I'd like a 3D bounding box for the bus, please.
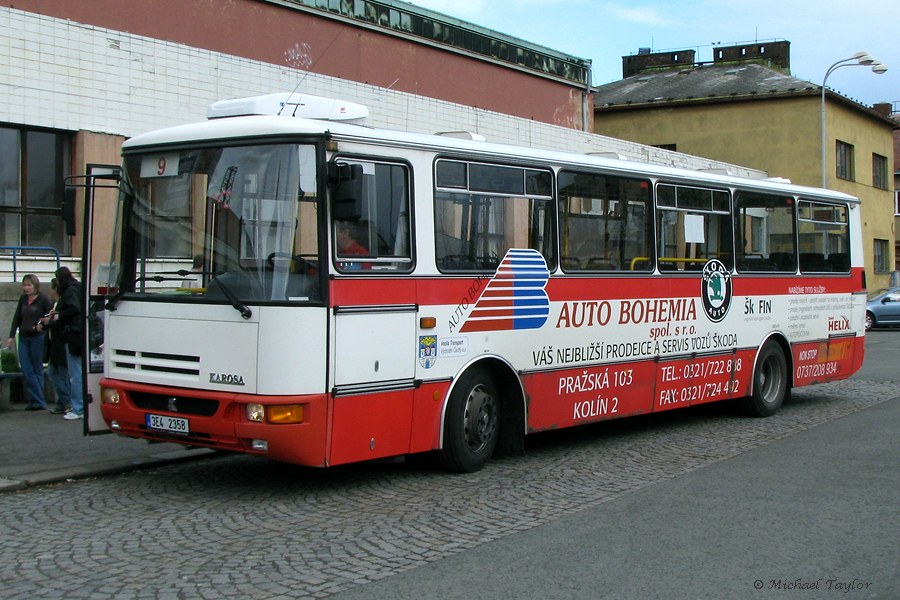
[{"bbox_3d":[1.779,-0.183,13.784,14.146,4.450,3.121,-4,7,-38],"label":"bus"}]
